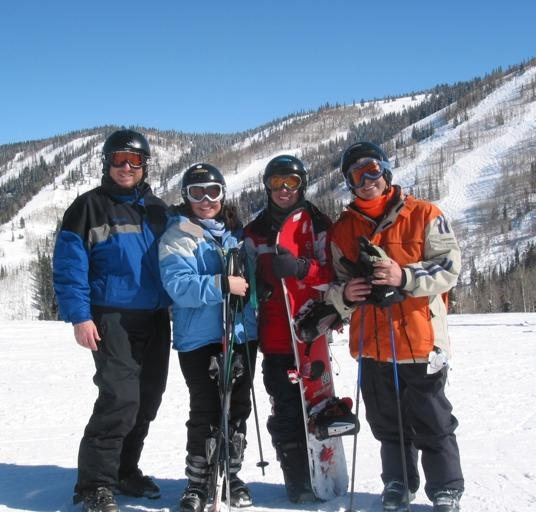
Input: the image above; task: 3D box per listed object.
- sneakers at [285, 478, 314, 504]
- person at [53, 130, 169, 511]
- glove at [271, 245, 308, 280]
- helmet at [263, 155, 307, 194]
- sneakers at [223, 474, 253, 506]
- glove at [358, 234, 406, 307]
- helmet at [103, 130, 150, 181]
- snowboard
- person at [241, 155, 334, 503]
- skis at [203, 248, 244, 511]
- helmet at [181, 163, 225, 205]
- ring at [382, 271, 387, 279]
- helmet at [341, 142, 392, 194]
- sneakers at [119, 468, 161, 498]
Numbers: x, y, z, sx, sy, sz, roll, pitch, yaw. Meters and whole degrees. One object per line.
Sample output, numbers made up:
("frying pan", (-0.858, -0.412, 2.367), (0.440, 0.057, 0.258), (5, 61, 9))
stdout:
("sneakers", (0.281, 2.070, 5.759), (0.139, 0.221, 0.184), (-1, -4, 26))
("person", (-1.295, 0.487, 5.688), (0.496, 3.293, 1.040), (-6, -6, 42))
("glove", (0.201, 0.079, 5.778), (0.224, 0.332, 0.158), (-5, -24, -46))
("helmet", (0.167, -0.811, 6.170), (0.270, 0.353, 0.399), (2, 29, 4))
("sneakers", (-0.233, 2.040, 5.633), (0.156, 0.281, 0.115), (9, -48, -32))
("glove", (0.941, 0.133, 5.467), (0.348, 0.587, 0.198), (-3, -5, 13))
("helmet", (-1.289, -0.949, 6.094), (0.348, 0.486, 0.445), (2, -15, -11))
("snowboard", (0.445, 1.112, 5.956), (0.524, 3.009, 0.534), (-3, -9, -29))
("person", (0.194, 0.370, 6.156), (0.623, 3.548, 0.558), (-4, -6, -27))
("skis", (-0.356, 1.127, 5.566), (0.227, 2.529, 0.277), (3, -18, -4))
("helmet", (-0.586, -0.648, 6.038), (0.302, 0.333, 0.369), (-2, 1, -8))
("ring", (0.963, 0.161, 5.392), (0.031, 0.047, 0.016), (-3, -5, 7))
("helmet", (0.892, -0.741, 5.912), (0.340, 0.528, 0.460), (-9, -1, 12))
("sneakers", (-1.131, 2.009, 5.882), (0.350, 0.203, 0.181), (1, 0, 15))
